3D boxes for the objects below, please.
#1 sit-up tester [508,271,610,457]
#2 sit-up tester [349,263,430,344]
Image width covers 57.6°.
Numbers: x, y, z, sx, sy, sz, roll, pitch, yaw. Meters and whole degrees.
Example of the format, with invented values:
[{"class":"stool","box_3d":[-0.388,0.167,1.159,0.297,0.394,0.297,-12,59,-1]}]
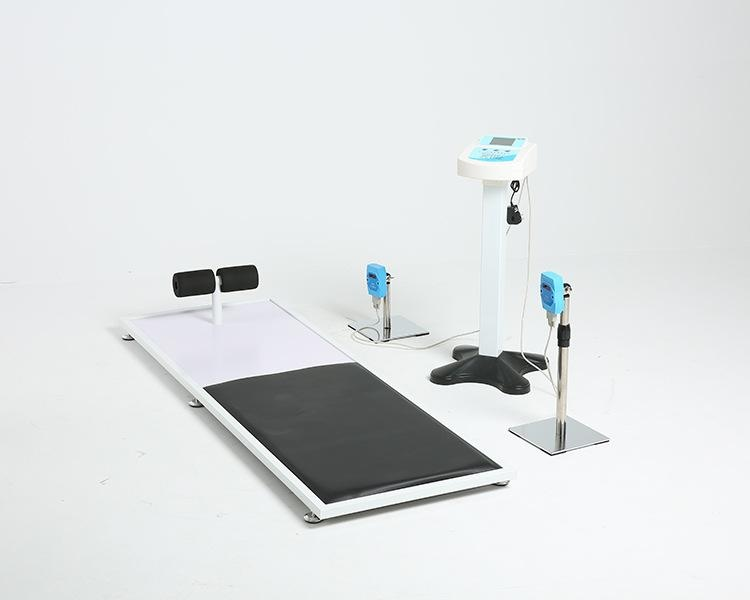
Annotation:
[{"class":"sit-up tester","box_3d":[1.067,0.323,3.849,0.449,0.973,0.424,-8,16,-29]},{"class":"sit-up tester","box_3d":[0.145,-0.056,5.540,0.596,0.733,0.641,-8,19,-28]}]
